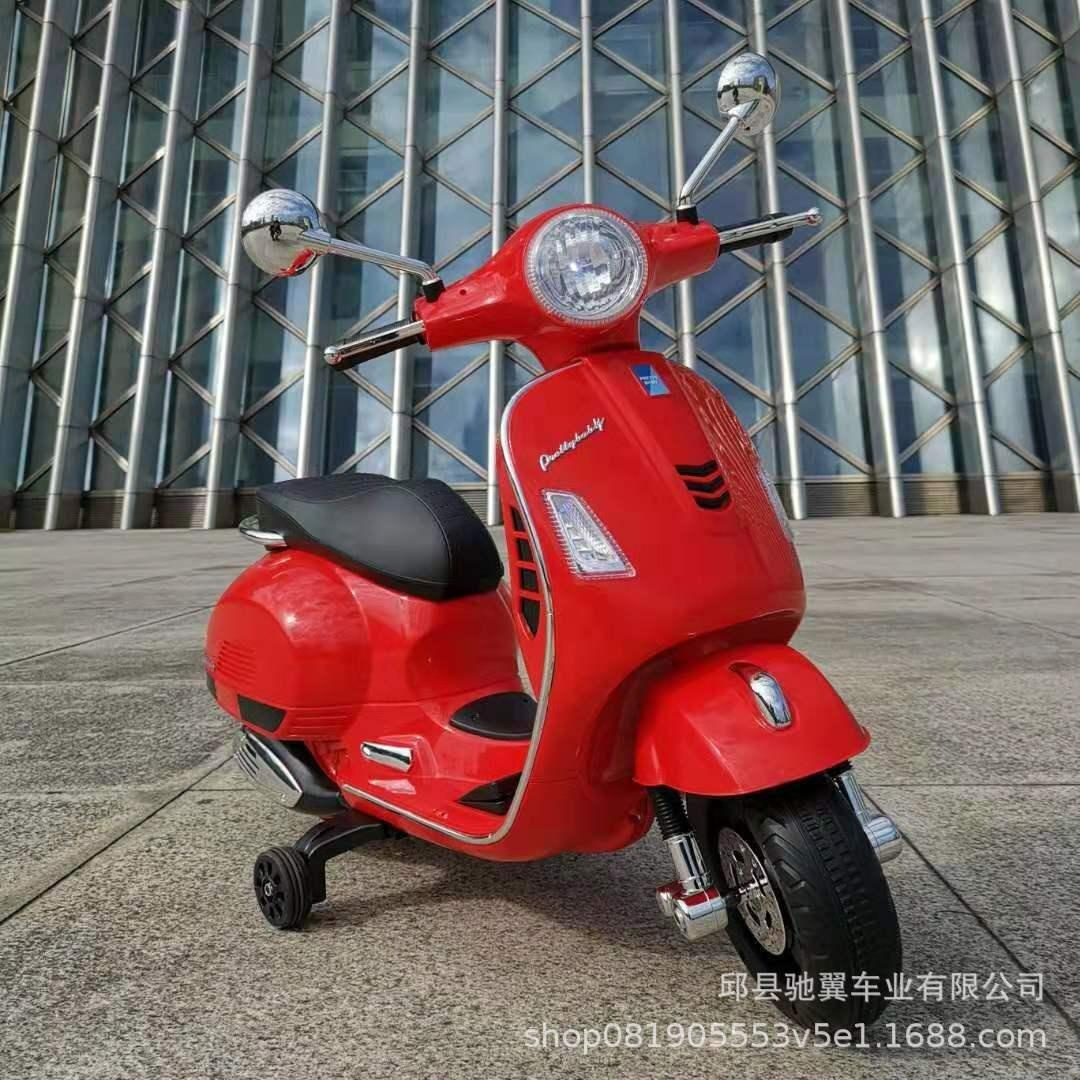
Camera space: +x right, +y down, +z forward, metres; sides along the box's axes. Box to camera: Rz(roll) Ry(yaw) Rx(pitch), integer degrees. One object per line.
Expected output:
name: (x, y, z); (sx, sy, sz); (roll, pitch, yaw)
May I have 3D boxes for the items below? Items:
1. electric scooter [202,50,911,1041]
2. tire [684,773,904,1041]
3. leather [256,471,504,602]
electric scooter: (-0.028, 0.039, 1.906); (1.454, 1.372, 0.593); (4, 13, 28)
tire: (0.394, 0.572, 1.615); (0.209, 0.404, 0.258); (-6, 12, -18)
leather: (-0.372, -0.071, 2.309); (0.591, 0.171, 0.392); (19, 29, 39)
